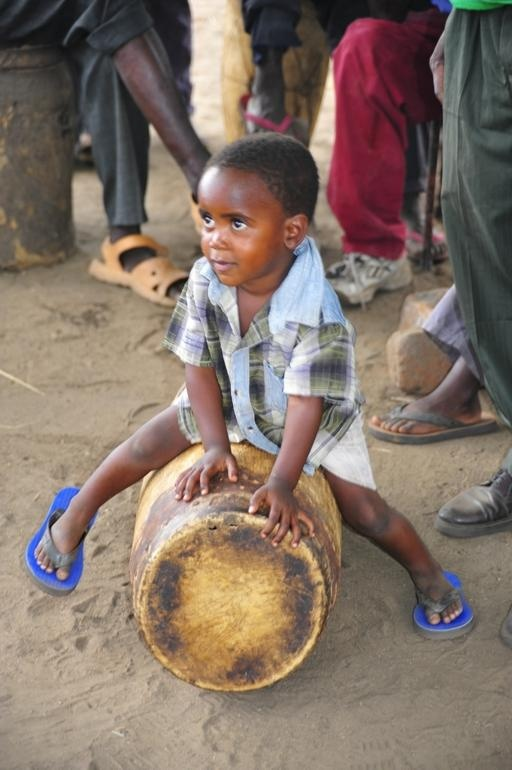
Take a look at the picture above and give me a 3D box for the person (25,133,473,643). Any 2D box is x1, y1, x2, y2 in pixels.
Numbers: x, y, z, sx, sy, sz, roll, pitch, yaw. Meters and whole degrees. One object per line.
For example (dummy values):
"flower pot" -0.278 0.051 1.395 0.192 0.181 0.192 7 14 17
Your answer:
"person" 0.022 0.010 1.810 1.080 1.068 0.567 9 25 12

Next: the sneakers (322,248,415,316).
"sneakers" 0.514 -0.471 3.569 0.447 0.210 0.187 -12 48 -38

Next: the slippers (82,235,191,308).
"slippers" -0.489 -0.533 3.530 0.508 0.227 0.233 23 49 21

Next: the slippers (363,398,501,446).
"slippers" 0.619 0.127 2.703 0.346 0.086 0.184 -1 7 -3
